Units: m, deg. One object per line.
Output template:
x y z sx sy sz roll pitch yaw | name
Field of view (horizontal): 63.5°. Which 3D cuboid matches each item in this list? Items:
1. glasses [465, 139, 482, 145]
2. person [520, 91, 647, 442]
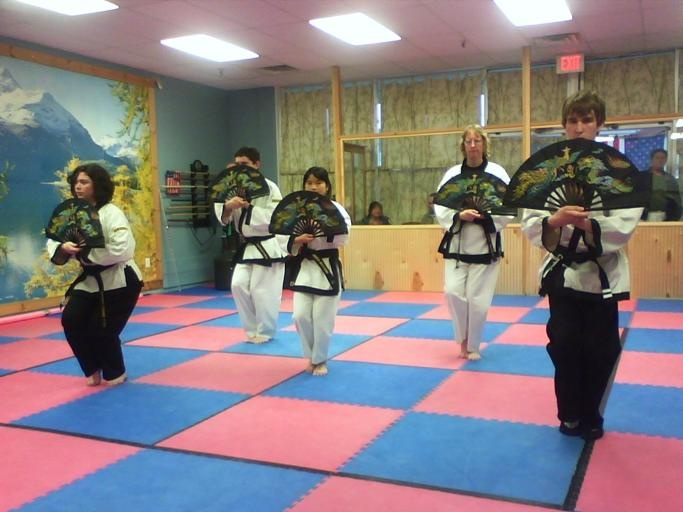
1.179 -1.011 4.932 0.152 0.053 0.078 0 8 10 | glasses
1.453 0.398 3.421 0.661 1.453 0.382 2 10 27 | person
